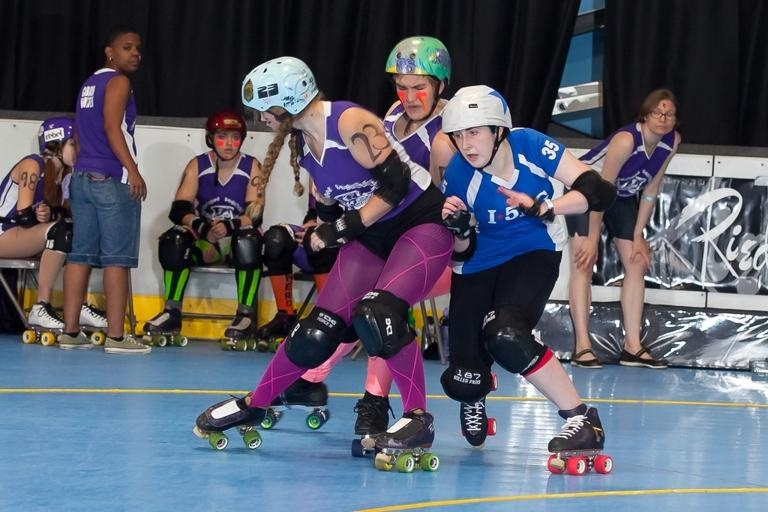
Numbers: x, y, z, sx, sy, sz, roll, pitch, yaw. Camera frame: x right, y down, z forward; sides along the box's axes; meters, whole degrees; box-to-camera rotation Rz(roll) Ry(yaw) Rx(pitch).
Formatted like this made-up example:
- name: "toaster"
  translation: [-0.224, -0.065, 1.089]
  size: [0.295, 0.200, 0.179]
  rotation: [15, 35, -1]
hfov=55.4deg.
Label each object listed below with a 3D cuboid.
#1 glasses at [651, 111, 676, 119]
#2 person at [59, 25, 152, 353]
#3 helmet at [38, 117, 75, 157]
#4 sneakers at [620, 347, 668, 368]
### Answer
- name: "glasses"
  translation: [2.415, -1.211, 6.279]
  size: [0.217, 0.064, 0.053]
  rotation: [3, 3, -6]
- name: "person"
  translation: [-2.423, -0.571, 6.362]
  size: [0.736, 2.821, 0.425]
  rotation: [5, 3, 26]
- name: "helmet"
  translation: [-3.099, -1.153, 7.020]
  size: [0.356, 0.343, 0.276]
  rotation: [5, -3, -8]
- name: "sneakers"
  translation: [2.435, 0.938, 6.828]
  size: [0.406, 0.183, 0.182]
  rotation: [2, -1, 7]
